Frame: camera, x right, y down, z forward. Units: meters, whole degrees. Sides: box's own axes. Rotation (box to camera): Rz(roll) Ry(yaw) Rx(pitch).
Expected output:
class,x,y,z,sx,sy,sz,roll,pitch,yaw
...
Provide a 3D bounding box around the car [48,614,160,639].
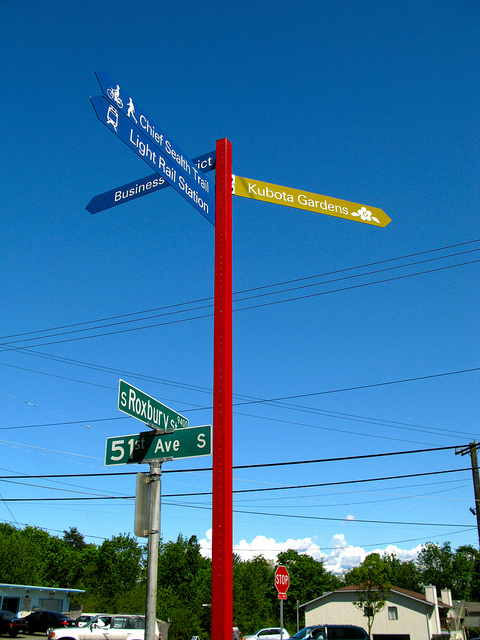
class,x,y,z,sx,sy,sz,roll,pitch,yaw
car,-4.874,10.730,24.717,2.966,0.770,2.070,2,-21,-9
